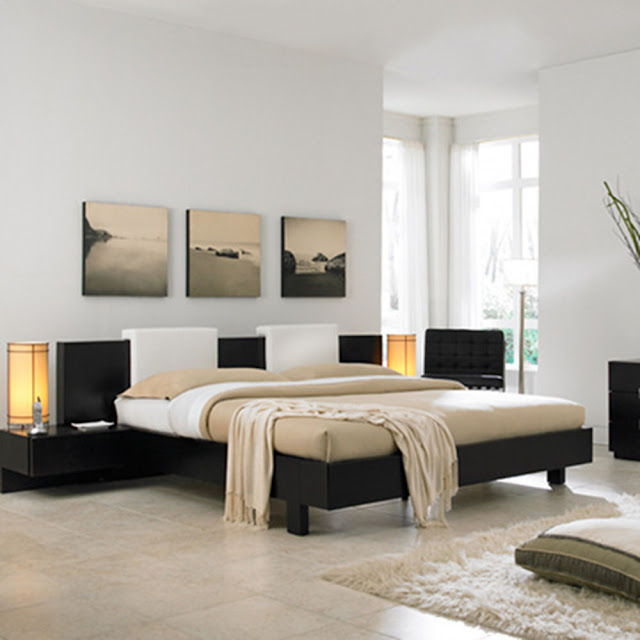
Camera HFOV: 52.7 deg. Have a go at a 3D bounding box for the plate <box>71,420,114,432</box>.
[{"bbox_3d":[-1.415,0.669,4.047,0.148,0.033,0.103,0,2,-41],"label":"plate"}]

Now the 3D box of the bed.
[{"bbox_3d":[-0.039,0.515,4.142,2.755,1.091,2.112,-5,-7,41],"label":"bed"}]

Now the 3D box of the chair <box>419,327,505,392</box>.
[{"bbox_3d":[1.398,0.333,6.287,0.779,0.762,0.579,0,-3,15],"label":"chair"}]
